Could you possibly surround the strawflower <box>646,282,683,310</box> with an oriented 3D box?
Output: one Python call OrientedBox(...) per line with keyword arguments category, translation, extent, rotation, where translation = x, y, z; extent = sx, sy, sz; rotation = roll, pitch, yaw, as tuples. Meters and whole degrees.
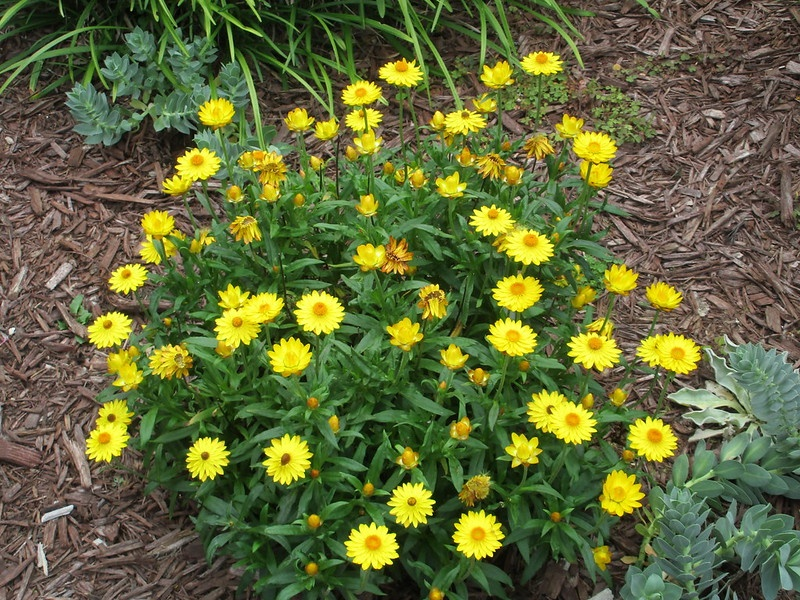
OrientedBox(category="strawflower", translation=(1.288, -0.015, 3.514), extent=(0.110, 0.061, 0.117), rotation=(35, 58, 20))
